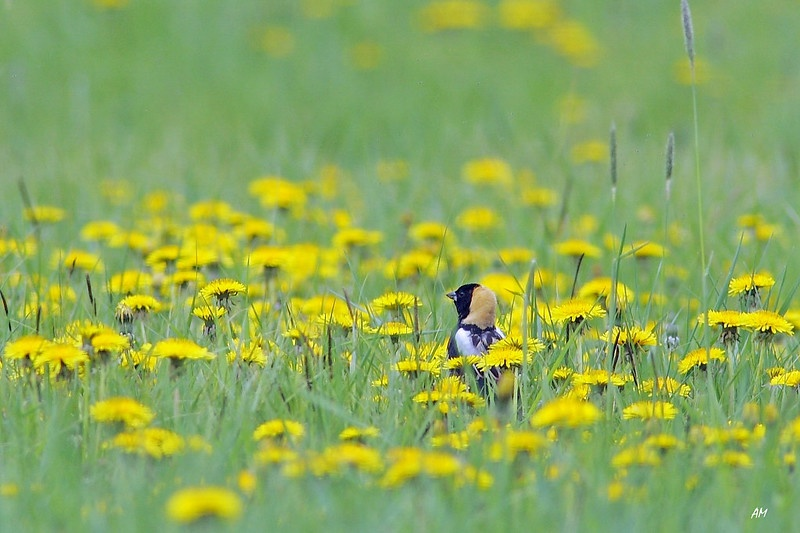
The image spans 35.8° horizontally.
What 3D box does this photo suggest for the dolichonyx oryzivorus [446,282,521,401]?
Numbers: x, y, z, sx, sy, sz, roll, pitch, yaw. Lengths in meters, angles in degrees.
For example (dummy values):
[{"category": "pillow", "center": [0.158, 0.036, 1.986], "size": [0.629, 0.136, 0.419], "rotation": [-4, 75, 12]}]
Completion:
[{"category": "dolichonyx oryzivorus", "center": [0.385, 0.301, 5.871], "size": [0.439, 0.271, 0.519], "rotation": [0, 61, 38]}]
